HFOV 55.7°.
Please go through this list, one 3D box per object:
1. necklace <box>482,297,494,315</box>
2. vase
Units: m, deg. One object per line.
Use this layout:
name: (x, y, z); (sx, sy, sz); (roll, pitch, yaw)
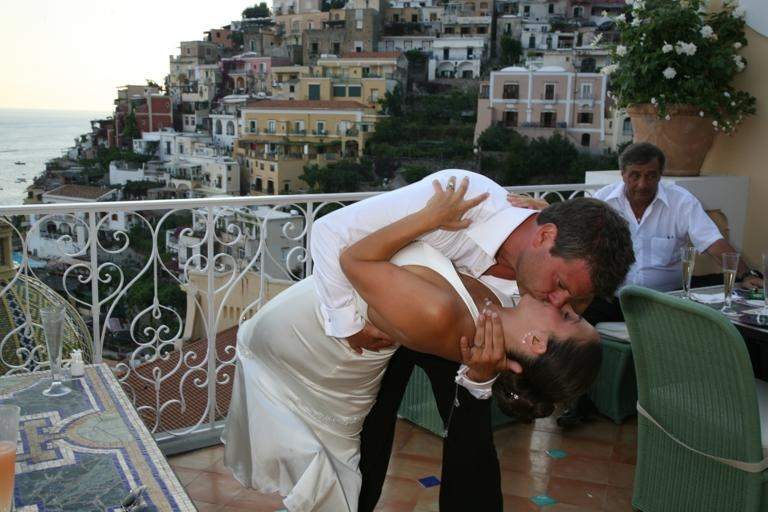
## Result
necklace: (0.335, 0.165, 2.341); (0.040, 0.015, 0.041); (-28, 39, -16)
vase: (1.974, -0.786, 5.051); (0.534, 0.447, 0.560); (1, 1, 5)
